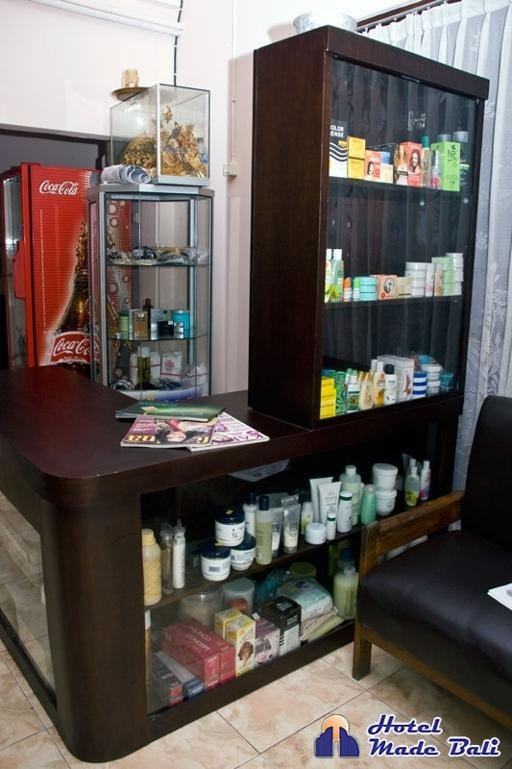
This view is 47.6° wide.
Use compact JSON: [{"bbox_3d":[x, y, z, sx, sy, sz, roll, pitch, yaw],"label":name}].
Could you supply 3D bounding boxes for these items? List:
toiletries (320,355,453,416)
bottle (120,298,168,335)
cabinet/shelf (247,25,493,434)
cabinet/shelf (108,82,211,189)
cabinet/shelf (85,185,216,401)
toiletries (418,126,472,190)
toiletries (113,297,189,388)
[{"bbox_3d":[0.414,0.003,1.897,0.439,0.104,0.185,-14,22,-37],"label":"toiletries"},{"bbox_3d":[-0.581,-0.332,3.000,0.243,0.204,0.072,1,4,-16],"label":"bottle"},{"bbox_3d":[0.375,-0.465,1.961,0.788,1.121,0.346,-8,14,-38],"label":"cabinet/shelf"},{"bbox_3d":[-0.481,-1.243,2.925,0.279,0.490,0.544,-5,16,-38],"label":"cabinet/shelf"},{"bbox_3d":[-0.538,-0.489,2.997,0.551,1.207,0.408,-7,17,-34],"label":"cabinet/shelf"},{"bbox_3d":[0.630,-0.766,1.954,0.156,0.311,0.164,9,20,31],"label":"toiletries"},{"bbox_3d":[-0.566,-0.258,3.228,0.487,0.710,0.391,-4,15,-24],"label":"toiletries"}]
